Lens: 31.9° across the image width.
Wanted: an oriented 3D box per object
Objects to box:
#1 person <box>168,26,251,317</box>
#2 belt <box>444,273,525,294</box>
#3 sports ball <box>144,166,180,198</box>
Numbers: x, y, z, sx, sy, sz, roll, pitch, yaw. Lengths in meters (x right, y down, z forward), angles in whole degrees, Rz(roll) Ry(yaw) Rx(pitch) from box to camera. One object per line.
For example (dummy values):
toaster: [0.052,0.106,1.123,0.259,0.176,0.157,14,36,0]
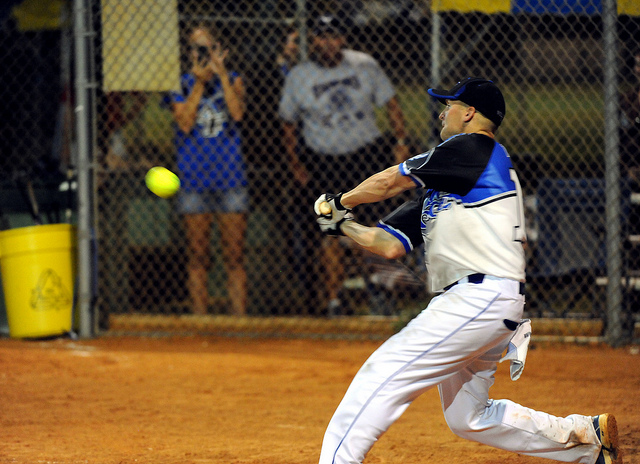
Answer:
person: [-0.956,-0.550,9.762,0.727,2.488,0.404,1,4,-4]
belt: [1.078,0.322,7.313,0.522,0.135,0.123,2,4,2]
sports ball: [-1.295,-0.418,9.395,0.257,0.208,0.204,-8,19,6]
